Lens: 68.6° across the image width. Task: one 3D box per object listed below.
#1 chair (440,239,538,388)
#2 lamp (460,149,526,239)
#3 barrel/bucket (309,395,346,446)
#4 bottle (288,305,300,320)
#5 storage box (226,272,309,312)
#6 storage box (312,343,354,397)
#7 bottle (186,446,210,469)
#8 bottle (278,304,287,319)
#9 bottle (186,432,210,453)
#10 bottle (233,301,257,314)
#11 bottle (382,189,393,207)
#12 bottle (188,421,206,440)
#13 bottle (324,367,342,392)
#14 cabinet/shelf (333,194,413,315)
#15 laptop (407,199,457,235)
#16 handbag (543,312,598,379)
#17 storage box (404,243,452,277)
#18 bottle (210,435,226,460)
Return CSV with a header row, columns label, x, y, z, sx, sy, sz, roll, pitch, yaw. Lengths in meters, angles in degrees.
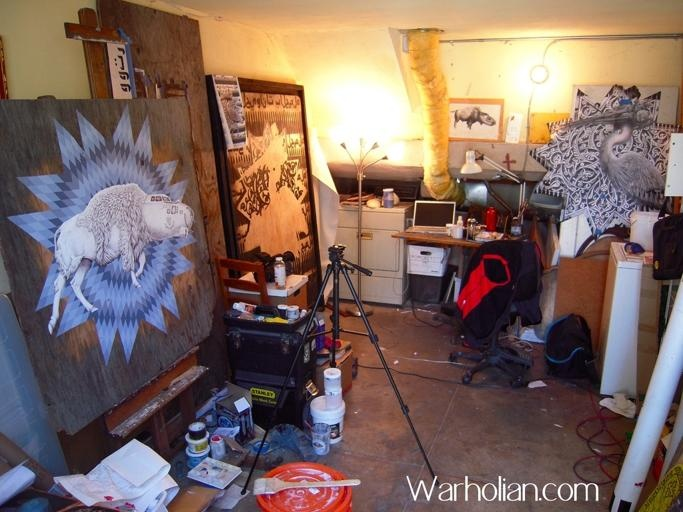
label,x,y,z,sx,sy,sz,roll,pitch,yaw
chair,1.341,0.447,4.521,0.776,1.310,0.852,2,11,33
lamp,1.614,-0.696,5.312,0.643,0.859,0.544,6,17,19
barrel/bucket,-0.108,1.161,3.679,0.309,0.343,0.318,-1,8,0
bottle,-0.358,0.422,3.653,0.088,0.083,0.070,1,3,38
storage box,-0.582,0.287,4.098,0.386,0.258,0.405,3,15,13
storage box,-0.069,0.951,4.174,0.255,0.447,0.459,8,3,17
bottle,-0.928,1.292,3.239,0.131,0.104,0.137,-3,10,0
bottle,-0.442,0.412,3.659,0.082,0.103,0.077,0,-1,0
bottle,-0.931,1.185,3.213,0.117,0.076,0.122,0,13,0
bottle,-0.732,0.374,3.721,0.117,0.046,0.090,5,5,39
bottle,0.524,-0.667,5.658,0.130,0.194,0.162,1,16,4
bottle,-0.927,1.116,3.221,0.089,0.097,0.096,0,3,10
bottle,-0.064,0.871,3.595,0.136,0.166,0.142,2,10,26
cabinet/shelf,0.189,0.116,5.906,0.896,1.248,0.720,5,-24,-11
laptop,1.019,-0.453,5.565,0.525,0.382,0.336,5,15,16
handbag,2.038,0.626,4.504,0.408,0.523,0.738,2,8,22
storage box,1.006,-0.021,5.720,0.426,0.351,0.467,4,19,23
bottle,-0.815,1.258,3.291,0.092,0.123,0.113,-15,22,-42
